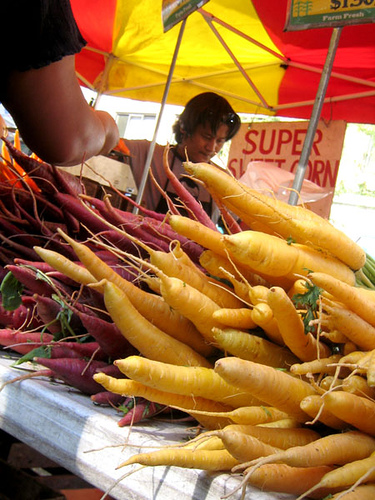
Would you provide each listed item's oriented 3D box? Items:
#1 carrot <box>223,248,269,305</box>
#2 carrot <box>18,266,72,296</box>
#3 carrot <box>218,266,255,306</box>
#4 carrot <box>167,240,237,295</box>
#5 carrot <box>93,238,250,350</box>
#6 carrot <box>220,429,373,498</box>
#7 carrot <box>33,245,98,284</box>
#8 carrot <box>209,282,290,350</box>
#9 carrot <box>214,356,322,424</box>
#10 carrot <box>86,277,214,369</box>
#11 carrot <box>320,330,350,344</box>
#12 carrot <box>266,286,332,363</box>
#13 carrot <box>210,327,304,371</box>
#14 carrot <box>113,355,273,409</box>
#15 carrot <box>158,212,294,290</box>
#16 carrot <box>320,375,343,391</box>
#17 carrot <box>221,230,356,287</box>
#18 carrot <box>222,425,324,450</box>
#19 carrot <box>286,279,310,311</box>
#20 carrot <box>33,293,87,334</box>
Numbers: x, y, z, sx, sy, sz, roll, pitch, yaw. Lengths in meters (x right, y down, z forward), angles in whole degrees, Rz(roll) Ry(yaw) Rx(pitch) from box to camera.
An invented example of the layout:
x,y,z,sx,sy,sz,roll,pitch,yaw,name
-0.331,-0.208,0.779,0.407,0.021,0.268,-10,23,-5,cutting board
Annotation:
x,y,z,sx,sy,sz,roll,pitch,yaw,name
0.138,0.059,0.890,0.161,0.043,0.040,43,-35,-13,carrot
-0.417,0.089,1.106,0.143,0.025,0.024,34,-36,-10,carrot
0.121,0.090,0.940,0.132,0.031,0.029,38,-37,-17,carrot
0.038,0.049,0.951,0.173,0.036,0.045,42,14,-7,carrot
-0.035,0.115,0.906,0.465,0.108,0.089,32,-6,-20,carrot
0.173,0.347,0.610,0.267,0.055,0.051,-15,35,-19,carrot
-0.325,0.044,1.001,0.039,0.043,0.216,10,-17,47,carrot
0.178,0.166,0.850,0.277,0.066,0.053,36,-24,-19,carrot
0.103,0.273,0.794,0.323,0.087,0.081,-19,-30,41,carrot
-0.079,0.169,0.878,0.306,0.066,0.072,34,22,-12,carrot
0.325,0.187,0.815,0.083,0.026,0.025,14,23,-34,carrot
0.229,0.154,0.779,0.052,0.051,0.192,-22,-67,41,carrot
0.142,0.231,0.853,0.284,0.072,0.067,27,-29,-28,carrot
0.009,0.281,0.797,0.395,0.068,0.063,27,-36,-34,carrot
0.097,0.006,0.941,0.344,0.057,0.055,29,-51,8,carrot
0.268,0.252,0.724,0.057,0.026,0.025,6,-10,-9,carrot
0.245,0.022,0.902,0.396,0.102,0.084,9,-6,-19,carrot
0.146,0.331,0.669,0.232,0.052,0.046,10,-21,-17,carrot
0.237,0.098,0.810,0.042,0.044,0.071,-5,-17,-9,carrot
-0.382,0.167,1.078,0.057,0.051,0.172,58,-2,27,carrot
